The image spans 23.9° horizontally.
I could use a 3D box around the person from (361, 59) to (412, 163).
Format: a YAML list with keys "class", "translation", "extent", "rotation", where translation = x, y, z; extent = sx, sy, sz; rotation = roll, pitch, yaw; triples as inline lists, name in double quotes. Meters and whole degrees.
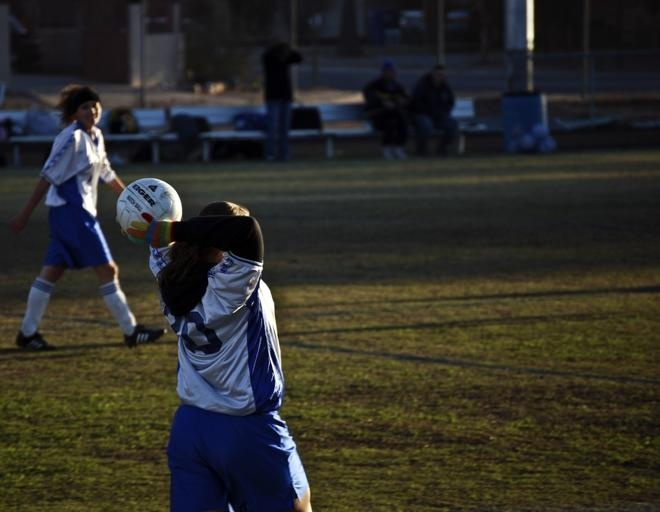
- class: "person"
  translation: [0.678, -1.690, 17.991]
  extent: [0.409, 1.171, 0.367]
  rotation: [19, 26, 36]

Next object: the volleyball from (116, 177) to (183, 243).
- class: "volleyball"
  translation: [-1.194, -0.349, 10.277]
  extent: [0.314, 0.497, 0.318]
  rotation: [-12, 27, -41]
